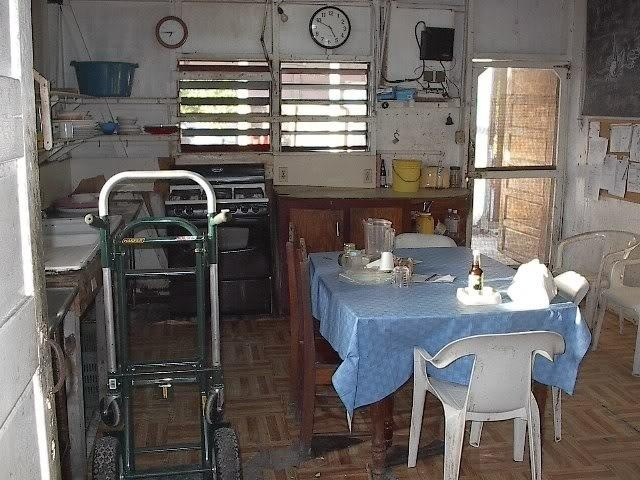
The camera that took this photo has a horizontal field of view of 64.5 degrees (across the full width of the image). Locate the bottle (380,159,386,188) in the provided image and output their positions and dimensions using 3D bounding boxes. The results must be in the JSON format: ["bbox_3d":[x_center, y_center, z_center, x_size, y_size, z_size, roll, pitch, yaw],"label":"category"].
[{"bbox_3d":[0.655,-0.699,5.270,0.080,0.284,0.086,-3,9,0],"label":"bottle"}]

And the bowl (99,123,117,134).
[{"bbox_3d":[-1.817,-0.961,4.383,0.128,0.098,0.120,0,0,0],"label":"bowl"}]

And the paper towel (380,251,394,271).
[{"bbox_3d":[0.378,0.126,2.954,0.088,0.108,0.092,-1,5,-2],"label":"paper towel"}]

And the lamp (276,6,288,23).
[{"bbox_3d":[-0.363,-2.185,4.892,0.074,0.135,0.028,-23,12,5],"label":"lamp"}]

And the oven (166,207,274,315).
[{"bbox_3d":[-0.957,0.195,4.808,0.938,0.978,0.655,-1,12,-13],"label":"oven"}]

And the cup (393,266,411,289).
[{"bbox_3d":[0.434,0.211,2.783,0.097,0.143,0.102,0,2,0],"label":"cup"}]

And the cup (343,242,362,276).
[{"bbox_3d":[0.206,0.112,3.038,0.153,0.155,0.113,-1,3,-40],"label":"cup"}]

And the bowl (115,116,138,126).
[{"bbox_3d":[-1.723,-1.068,4.563,0.160,0.087,0.194,-6,9,-22],"label":"bowl"}]

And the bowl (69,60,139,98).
[{"bbox_3d":[-1.995,-1.513,4.752,0.620,0.330,0.563,0,17,-8],"label":"bowl"}]

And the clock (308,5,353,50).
[{"bbox_3d":[0.085,-2.107,4.957,0.362,0.375,0.041,-6,18,-7],"label":"clock"}]

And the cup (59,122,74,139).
[{"bbox_3d":[-1.478,-0.632,2.950,0.087,0.131,0.068,-8,19,-37],"label":"cup"}]

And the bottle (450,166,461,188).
[{"bbox_3d":[1.409,-0.671,5.331,0.088,0.214,0.168,5,11,39],"label":"bottle"}]

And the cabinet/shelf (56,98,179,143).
[{"bbox_3d":[-1.911,-1.136,4.743,1.136,0.394,0.321,-10,15,-36],"label":"cabinet/shelf"}]

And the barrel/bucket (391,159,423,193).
[{"bbox_3d":[0.861,-0.659,5.102,0.294,0.309,0.299,2,16,0],"label":"barrel/bucket"}]

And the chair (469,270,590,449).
[{"bbox_3d":[1.216,0.724,2.852,0.583,0.960,0.573,-1,1,10],"label":"chair"}]

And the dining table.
[{"bbox_3d":[0.613,0.476,3.215,1.230,0.428,1.787,-4,5,-5],"label":"dining table"}]

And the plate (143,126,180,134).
[{"bbox_3d":[-1.433,-1.005,4.607,0.289,0.095,0.148,-6,9,-18],"label":"plate"}]

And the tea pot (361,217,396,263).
[{"bbox_3d":[0.368,0.000,3.054,0.214,0.239,0.150,14,22,40],"label":"tea pot"}]

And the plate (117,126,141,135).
[{"bbox_3d":[-1.687,-0.980,4.515,0.193,0.078,0.079,-6,9,-21],"label":"plate"}]

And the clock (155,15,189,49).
[{"bbox_3d":[-1.390,-1.944,4.886,0.276,0.298,0.286,8,6,-5],"label":"clock"}]

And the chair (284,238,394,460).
[{"bbox_3d":[0.108,0.618,2.745,0.665,1.313,0.736,-2,21,-5],"label":"chair"}]
